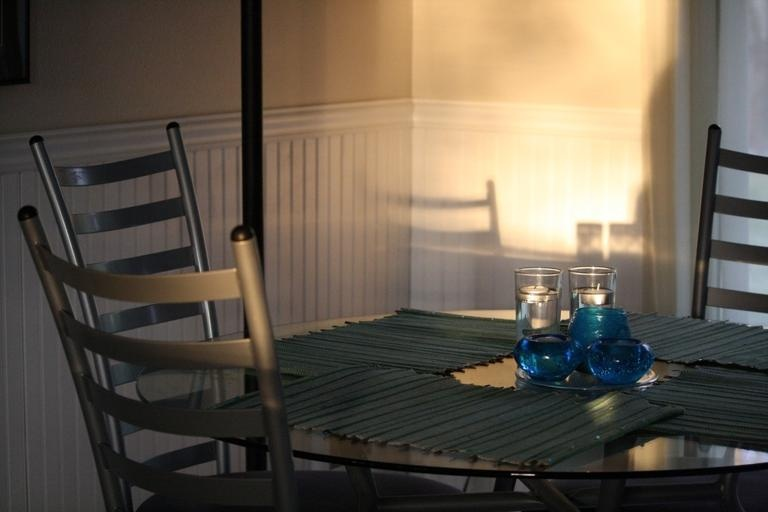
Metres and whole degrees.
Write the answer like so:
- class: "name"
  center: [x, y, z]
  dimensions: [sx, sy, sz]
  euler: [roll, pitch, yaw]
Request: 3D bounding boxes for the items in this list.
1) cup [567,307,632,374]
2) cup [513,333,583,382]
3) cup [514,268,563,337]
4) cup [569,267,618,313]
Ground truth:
- class: "cup"
  center: [0.514, 0.194, 2.064]
  dimensions: [0.148, 0.151, 0.153]
  euler: [0, 1, 0]
- class: "cup"
  center: [0.382, 0.235, 1.979]
  dimensions: [0.113, 0.072, 0.120]
  euler: [-3, 1, 0]
- class: "cup"
  center: [0.368, 0.115, 2.113]
  dimensions: [0.145, 0.244, 0.149]
  euler: [0, 1, 0]
- class: "cup"
  center: [0.525, 0.085, 2.147]
  dimensions: [0.112, 0.116, 0.112]
  euler: [-3, 3, 0]
